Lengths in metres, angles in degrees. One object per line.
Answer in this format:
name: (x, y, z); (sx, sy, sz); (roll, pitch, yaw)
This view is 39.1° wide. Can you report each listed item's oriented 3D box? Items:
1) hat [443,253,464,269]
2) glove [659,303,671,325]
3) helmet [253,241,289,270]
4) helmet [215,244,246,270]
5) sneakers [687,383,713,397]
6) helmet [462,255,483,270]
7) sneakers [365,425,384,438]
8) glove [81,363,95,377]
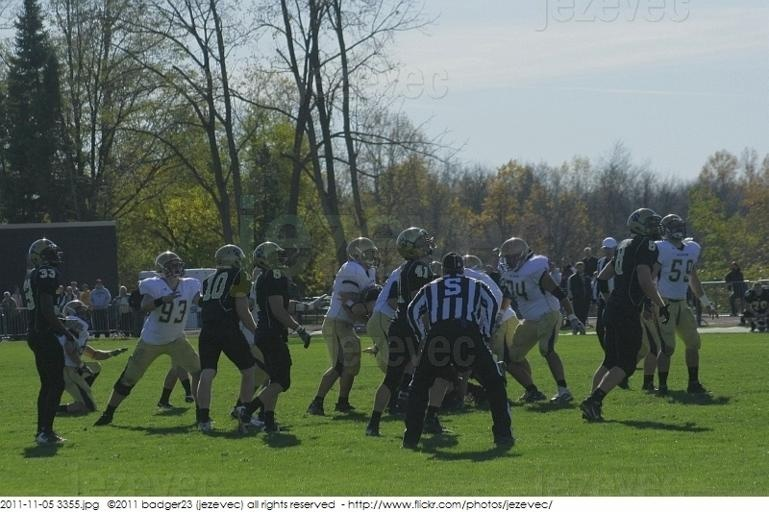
hat: (1.426, 0.128, 22.339); (0.419, 0.335, 0.268); (-2, 9, 2)
glove: (6.309, 1.344, 24.438); (0.156, 0.470, 0.341); (-4, 9, -17)
helmet: (-2.497, 0.004, 23.726); (0.677, 0.565, 0.485); (-16, 19, -22)
helmet: (-3.312, 0.026, 23.778); (0.452, 0.499, 0.609); (9, 19, 40)
sneakers: (7.176, 3.098, 24.789); (0.573, 0.266, 0.210); (1, 3, -22)
helmet: (2.180, 0.168, 26.648); (0.562, 0.427, 0.408); (-5, 29, 4)
sneakers: (-0.209, 3.722, 22.768); (0.201, 0.205, 0.222); (2, -3, -41)
glove: (-6.923, 2.711, 25.405); (0.231, 0.213, 0.637); (19, -16, -25)
